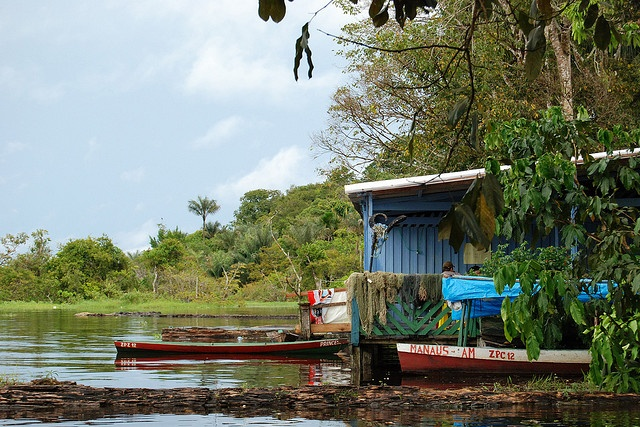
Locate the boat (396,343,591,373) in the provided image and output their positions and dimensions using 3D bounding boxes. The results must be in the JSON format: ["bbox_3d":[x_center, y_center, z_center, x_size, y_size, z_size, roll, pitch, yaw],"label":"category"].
[{"bbox_3d":[3.996,3.241,19.937,3.444,0.558,0.790,2,-18,1],"label":"boat"}]
